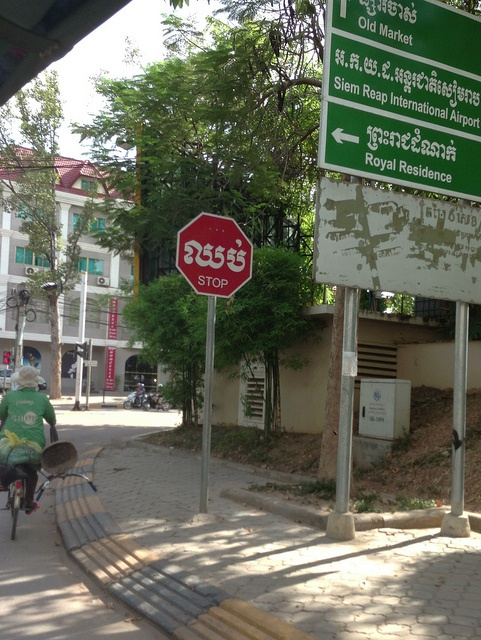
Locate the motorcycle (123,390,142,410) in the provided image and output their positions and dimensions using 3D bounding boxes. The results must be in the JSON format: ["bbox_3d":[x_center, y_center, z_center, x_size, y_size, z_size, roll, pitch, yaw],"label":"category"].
[{"bbox_3d":[-6.680,4.868,33.942,1.342,0.793,0.707,2,-7,3],"label":"motorcycle"}]

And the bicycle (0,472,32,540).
[{"bbox_3d":[-2.380,1.921,6.050,0.189,0.764,0.681,2,-5,-23],"label":"bicycle"}]

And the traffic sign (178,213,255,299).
[{"bbox_3d":[-0.319,-0.744,6.446,0.958,0.936,0.293,4,-6,-38],"label":"traffic sign"}]
